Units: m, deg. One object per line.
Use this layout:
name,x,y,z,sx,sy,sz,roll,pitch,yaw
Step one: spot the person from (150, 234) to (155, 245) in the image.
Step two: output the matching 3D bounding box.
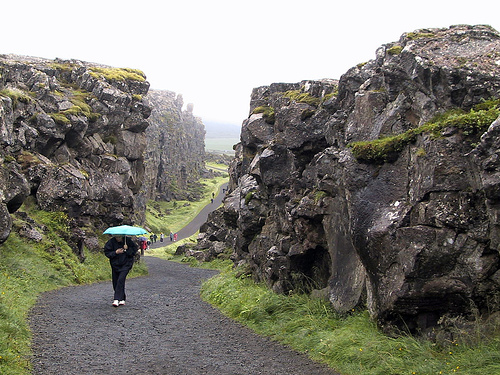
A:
person,-18.781,9.905,87.297,0.637,1.389,0.820,-2,-4,-5

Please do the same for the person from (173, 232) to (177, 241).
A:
person,-15.350,10.027,92.019,0.678,0.862,1.493,0,45,-5

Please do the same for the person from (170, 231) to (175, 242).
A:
person,-15.805,9.993,92.313,0.801,1.821,1.049,-2,-19,-13
